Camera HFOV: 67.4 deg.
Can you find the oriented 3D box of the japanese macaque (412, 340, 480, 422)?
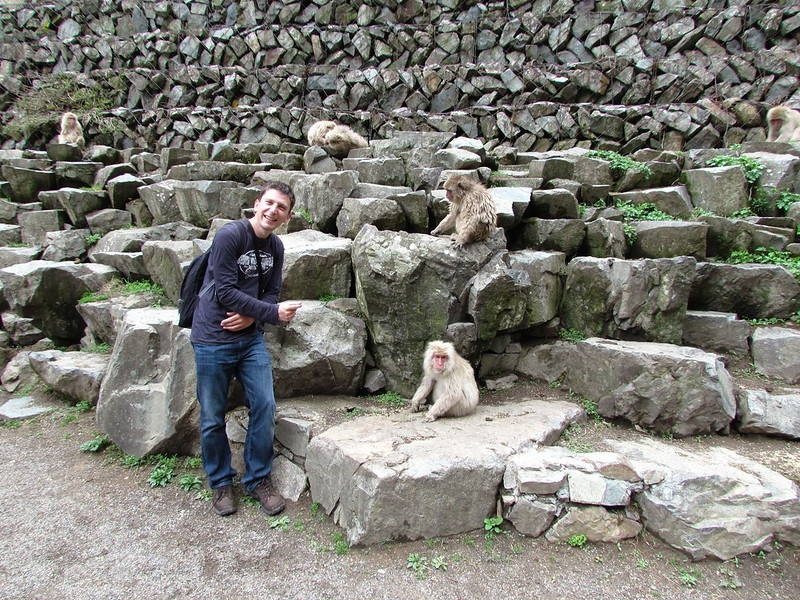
[{"bbox_3d":[0.515,0.909,6.911,0.713,0.867,0.427,-11,18,-30],"label":"japanese macaque"}]

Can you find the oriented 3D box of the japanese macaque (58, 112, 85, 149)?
[{"bbox_3d":[-7.900,-4.081,14.312,0.431,0.790,0.787,-7,16,-18],"label":"japanese macaque"}]

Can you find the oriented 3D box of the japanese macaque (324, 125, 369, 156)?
[{"bbox_3d":[-1.049,-2.725,10.631,0.627,0.325,0.633,-18,27,-29],"label":"japanese macaque"}]
